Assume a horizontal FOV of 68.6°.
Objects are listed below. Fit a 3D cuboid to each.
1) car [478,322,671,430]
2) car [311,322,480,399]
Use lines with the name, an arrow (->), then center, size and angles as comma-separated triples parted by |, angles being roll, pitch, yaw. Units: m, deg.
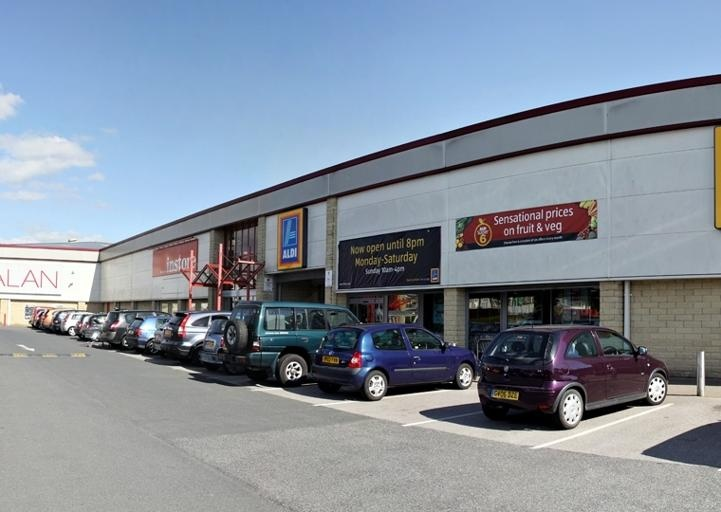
car -> 4.805, 2.493, 11.264 | 4.812, 1.971, 1.651 | 4, -10, -23
car -> 0.896, 2.755, 13.902 | 3.821, 1.894, 1.085 | 5, -10, -28
